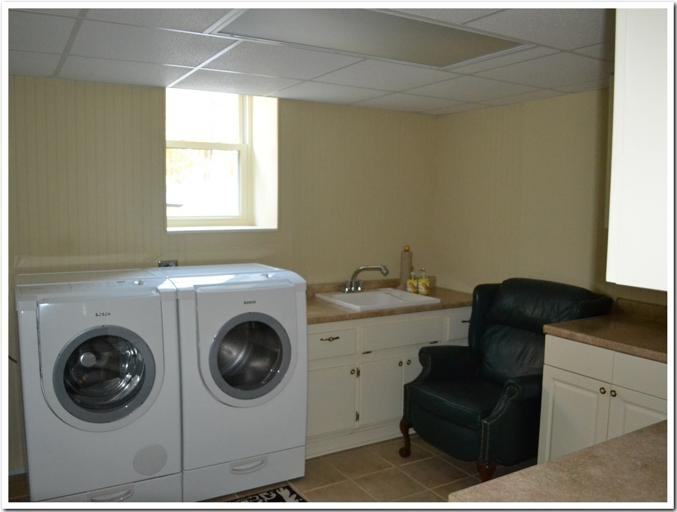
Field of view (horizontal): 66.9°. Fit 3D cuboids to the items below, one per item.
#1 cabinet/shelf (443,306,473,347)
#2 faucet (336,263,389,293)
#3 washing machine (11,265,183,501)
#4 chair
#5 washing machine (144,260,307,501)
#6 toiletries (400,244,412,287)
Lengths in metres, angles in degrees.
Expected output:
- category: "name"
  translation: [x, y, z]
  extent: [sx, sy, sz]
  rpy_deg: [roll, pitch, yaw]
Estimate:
- category: "cabinet/shelf"
  translation: [0.883, 0.519, 3.832]
  extent: [0.313, 0.299, 0.156]
  rpy_deg: [-1, 3, -34]
- category: "faucet"
  translation: [0.209, 0.170, 4.042]
  extent: [0.207, 0.198, 0.314]
  rpy_deg: [-1, 3, -32]
- category: "washing machine"
  translation: [-1.305, 0.736, 2.858]
  extent: [0.839, 1.210, 0.756]
  rpy_deg: [-1, 8, -12]
- category: "chair"
  translation: [1.023, 0.775, 3.338]
  extent: [1.039, 1.179, 0.990]
  rpy_deg: [-1, 4, -10]
- category: "washing machine"
  translation: [-0.659, 0.733, 3.193]
  extent: [0.861, 1.211, 0.763]
  rpy_deg: [-2, 3, -44]
- category: "toiletries"
  translation: [0.545, 0.123, 4.306]
  extent: [0.079, 0.326, 0.078]
  rpy_deg: [4, 19, 11]
